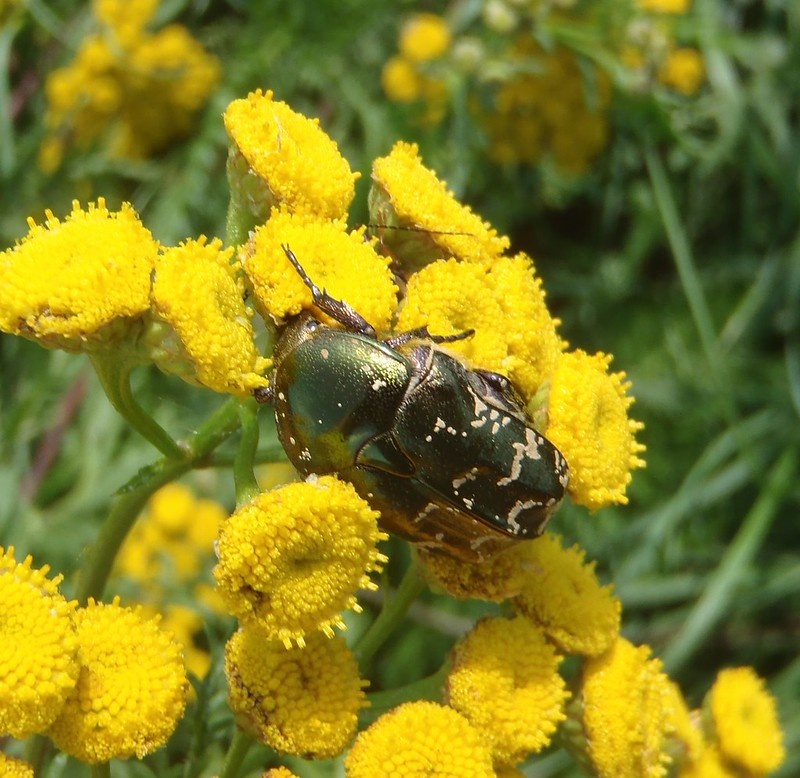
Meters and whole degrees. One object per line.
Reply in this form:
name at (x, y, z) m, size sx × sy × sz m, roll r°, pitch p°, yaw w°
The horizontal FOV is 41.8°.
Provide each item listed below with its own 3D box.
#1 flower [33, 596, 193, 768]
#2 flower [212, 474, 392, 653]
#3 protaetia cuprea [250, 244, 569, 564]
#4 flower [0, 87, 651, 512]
flower at (-0.170, 0.171, 0.658) m, size 0.082 × 0.106 × 0.037 m, roll 11°, pitch -7°, yaw -10°
flower at (-0.056, 0.088, 0.641) m, size 0.102 × 0.101 × 0.044 m, roll -35°, pitch 19°, yaw 16°
protaetia cuprea at (0.017, 0.002, 0.669) m, size 0.186 × 0.140 × 0.058 m, roll 28°, pitch 27°, yaw -4°
flower at (-0.067, -0.041, 0.737) m, size 0.356 × 0.285 × 0.099 m, roll 6°, pitch -26°, yaw -22°
